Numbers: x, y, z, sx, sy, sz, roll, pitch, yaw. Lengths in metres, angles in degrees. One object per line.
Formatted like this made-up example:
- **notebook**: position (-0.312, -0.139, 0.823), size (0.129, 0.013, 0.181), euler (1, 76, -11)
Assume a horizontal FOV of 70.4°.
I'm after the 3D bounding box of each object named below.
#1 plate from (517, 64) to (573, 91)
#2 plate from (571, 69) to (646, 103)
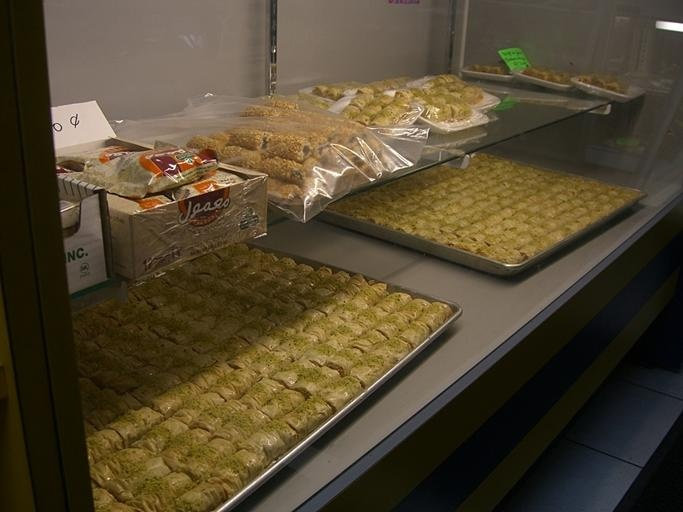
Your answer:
- **plate**: position (0.736, -0.637, 1.766), size (0.171, 0.025, 0.093), euler (20, 38, 10)
- **plate**: position (1.058, -0.676, 1.904), size (0.154, 0.044, 0.188), euler (-3, 21, -39)
